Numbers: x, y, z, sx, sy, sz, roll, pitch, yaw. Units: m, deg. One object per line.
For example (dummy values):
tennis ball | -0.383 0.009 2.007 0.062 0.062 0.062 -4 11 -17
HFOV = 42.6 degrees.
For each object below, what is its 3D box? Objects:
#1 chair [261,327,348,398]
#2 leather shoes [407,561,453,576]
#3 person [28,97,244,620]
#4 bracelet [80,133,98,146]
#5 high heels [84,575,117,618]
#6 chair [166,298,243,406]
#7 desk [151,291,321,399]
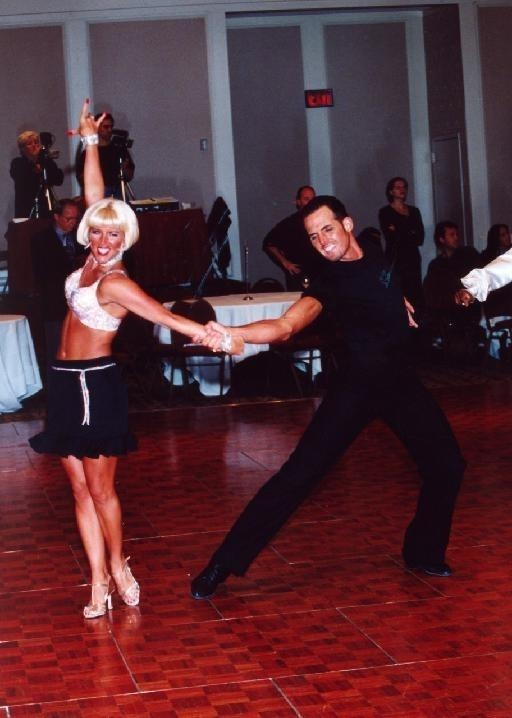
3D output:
chair | 0.521 0.041 7.056 0.848 0.847 0.737 2 0 -7
leather shoes | 0.670 0.801 2.500 0.170 0.059 0.058 -2 -1 31
person | -0.434 0.180 2.146 0.596 1.380 0.335 -1 3 34
bracelet | -0.645 -0.855 2.571 0.072 0.044 0.066 3 21 7
high heels | -0.528 0.813 2.217 0.065 0.112 0.185 -8 -13 8
chair | -0.558 -0.094 6.402 0.765 0.935 0.763 -14 18 -41
desk | -0.279 -0.188 6.620 1.338 0.638 1.239 0 8 4
